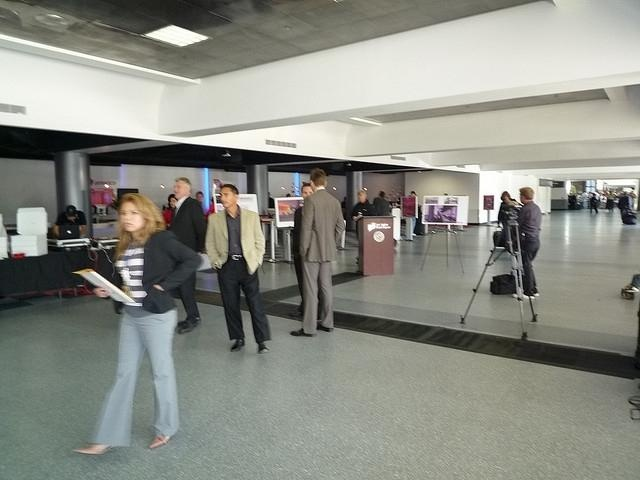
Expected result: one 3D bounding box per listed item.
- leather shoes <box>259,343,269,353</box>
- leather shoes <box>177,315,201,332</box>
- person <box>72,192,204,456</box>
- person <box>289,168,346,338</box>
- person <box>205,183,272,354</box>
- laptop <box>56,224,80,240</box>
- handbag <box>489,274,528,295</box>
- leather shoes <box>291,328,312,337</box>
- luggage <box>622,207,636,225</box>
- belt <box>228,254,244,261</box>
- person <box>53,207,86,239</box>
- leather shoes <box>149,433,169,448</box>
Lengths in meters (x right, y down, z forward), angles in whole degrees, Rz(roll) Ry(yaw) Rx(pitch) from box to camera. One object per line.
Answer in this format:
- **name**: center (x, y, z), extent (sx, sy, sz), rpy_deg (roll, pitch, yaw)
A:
- **leather shoes**: center (-0.668, 1.281, 4.915), extent (0.090, 0.053, 0.128), rpy_deg (3, -5, -6)
- **leather shoes**: center (-1.792, 1.160, 5.717), extent (0.162, 0.110, 0.275), rpy_deg (0, 1, 29)
- **person**: center (-1.314, 0.628, 3.138), extent (0.843, 1.929, 0.321), rpy_deg (-2, 7, -13)
- **person**: center (-0.007, 0.174, 5.375), extent (0.672, 2.152, 0.413), rpy_deg (-5, 8, -34)
- **person**: center (-0.936, 0.339, 4.858), extent (0.715, 1.968, 0.431), rpy_deg (3, 8, 28)
- **laptop**: center (-4.496, -0.174, 7.509), extent (0.375, 0.240, 0.268), rpy_deg (0, 3, -36)
- **handbag**: center (3.278, 0.799, 7.434), extent (0.410, 0.350, 0.305), rpy_deg (-1, 4, 10)
- **leather shoes**: center (-0.240, 1.220, 5.444), extent (0.267, 0.103, 0.104), rpy_deg (6, 4, 30)
- **luggage**: center (16.872, -1.227, 22.778), extent (0.741, 0.895, 0.904), rpy_deg (-3, 3, 12)
- **belt**: center (-0.948, 0.208, 4.682), extent (0.102, 0.067, 0.022), rpy_deg (1, 42, 3)
- **person**: center (-4.863, -0.280, 8.141), extent (0.529, 0.823, 1.023), rpy_deg (0, 18, -30)
- **leather shoes**: center (-1.228, 1.547, 3.206), extent (0.146, 0.055, 0.076), rpy_deg (-5, -23, -17)
